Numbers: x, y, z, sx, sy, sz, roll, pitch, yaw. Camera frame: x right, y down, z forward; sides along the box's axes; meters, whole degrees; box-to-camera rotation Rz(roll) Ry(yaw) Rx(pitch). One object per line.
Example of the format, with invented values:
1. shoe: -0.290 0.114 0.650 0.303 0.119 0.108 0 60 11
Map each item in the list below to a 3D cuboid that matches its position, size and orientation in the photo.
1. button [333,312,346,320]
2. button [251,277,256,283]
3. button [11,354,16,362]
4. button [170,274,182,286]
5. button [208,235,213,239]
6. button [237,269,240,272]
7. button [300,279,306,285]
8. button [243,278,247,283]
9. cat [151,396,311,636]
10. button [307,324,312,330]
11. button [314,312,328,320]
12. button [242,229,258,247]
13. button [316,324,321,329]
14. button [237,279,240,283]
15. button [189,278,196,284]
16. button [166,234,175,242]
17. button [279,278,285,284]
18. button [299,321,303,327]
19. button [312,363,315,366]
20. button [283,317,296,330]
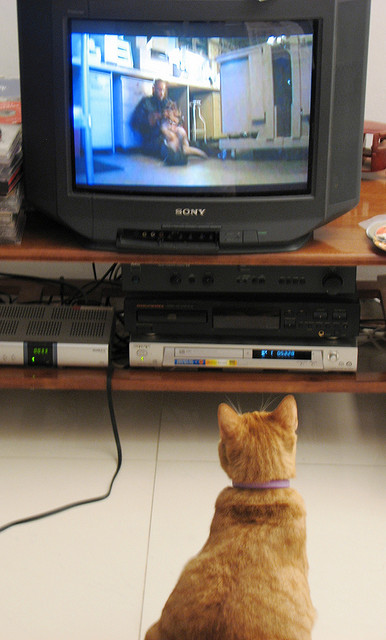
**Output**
1. button: 0.310 -0.010 1.054 0.022 0.017 0.013 1 10 4
2. button: 0.126 -0.083 1.025 0.009 0.010 0.002 -4 17 1
3. button: -0.404 0.084 1.133 0.012 0.018 0.003 -2 18 7
4. button: -0.034 -0.084 1.034 0.017 0.020 0.019 0 11 -3
5. button: 0.038 -0.169 1.013 0.008 0.009 0.005 0 7 2
6. button: 0.095 -0.103 1.020 0.005 0.006 0.001 0 -5 0
7. button: 0.226 -0.080 1.022 0.010 0.012 0.006 -2 -20 2
8. button: 0.108 -0.082 1.027 0.007 0.008 0.004 0 9 2
9. cat: 0.099 0.286 0.860 0.138 0.225 0.445 1 52 21
10. button: 0.252 0.014 1.072 0.010 0.012 0.006 0 16 2
11. button: 0.272 -0.010 1.057 0.023 0.019 0.014 0 11 4
12. button: 0.116 -0.165 0.998 0.025 0.029 0.006 -4 15 -8
13. button: 0.269 0.012 1.067 0.010 0.012 0.006 0 9 9
14. button: 0.096 -0.081 1.027 0.006 0.007 0.004 1 12 3
15. button: 0.000 -0.083 1.036 0.012 0.013 0.007 1 24 2
16. button: -0.044 -0.166 1.005 0.012 0.014 0.003 6 4 1
17. button: 0.183 -0.081 1.024 0.013 0.015 0.007 0 25 3
18. button: 0.232 0.006 1.069 0.009 0.010 0.007 0 11 1
19. button: 0.266 0.096 1.101 0.006 0.006 0.001 -7 18 -7
20. button: 0.208 0.005 1.069 0.025 0.030 0.020 0 9 7
